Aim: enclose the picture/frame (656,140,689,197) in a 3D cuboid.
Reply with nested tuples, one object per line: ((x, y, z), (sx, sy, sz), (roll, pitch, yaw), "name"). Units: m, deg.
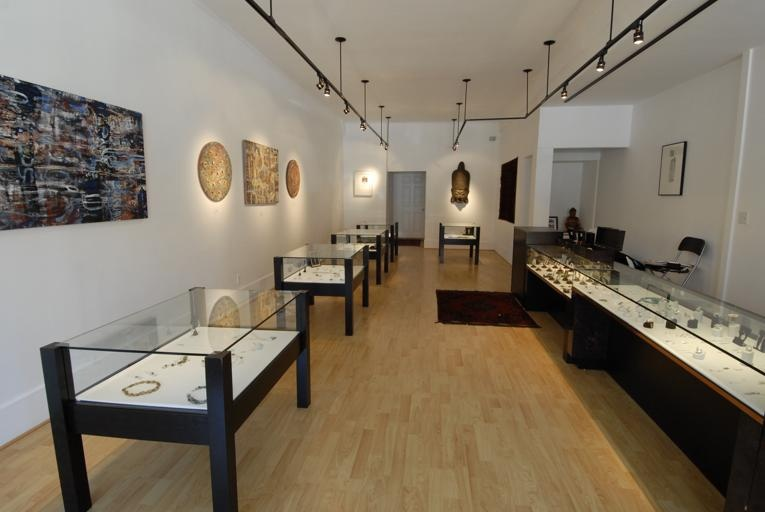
((4.380, -1.292, 7.641), (0.520, 0.769, 0.031), (-7, 12, -23), "picture/frame")

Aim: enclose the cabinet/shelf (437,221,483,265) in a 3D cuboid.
((1.683, -0.306, 11.273), (0.849, 0.863, 0.941), (1, 5, 7), "cabinet/shelf")

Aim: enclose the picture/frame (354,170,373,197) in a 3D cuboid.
((-0.542, -1.963, 13.497), (0.648, 0.939, 0.088), (0, 11, 3), "picture/frame")
